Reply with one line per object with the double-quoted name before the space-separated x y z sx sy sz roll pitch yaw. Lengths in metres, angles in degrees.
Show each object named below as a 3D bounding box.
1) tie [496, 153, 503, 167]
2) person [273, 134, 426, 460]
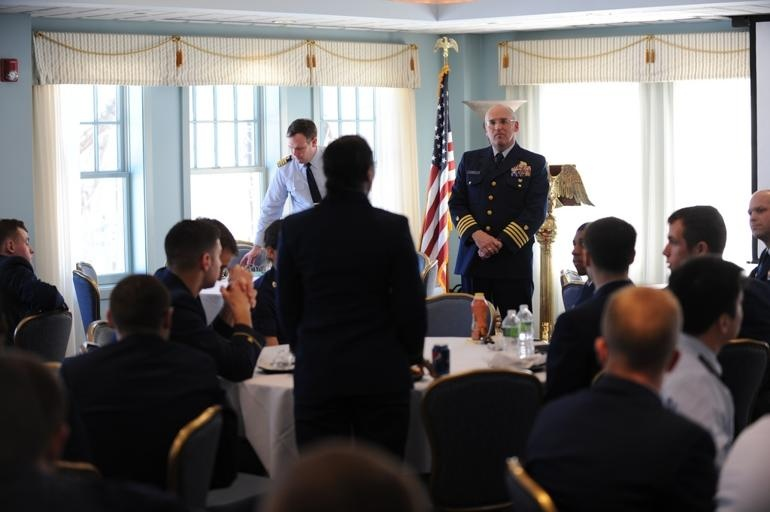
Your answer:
"tie" 0.807 -0.683 4.559 0.055 0.082 0.029 -3 -17 26
"person" -0.124 0.144 2.228 0.501 1.123 0.199 -1 5 -13
